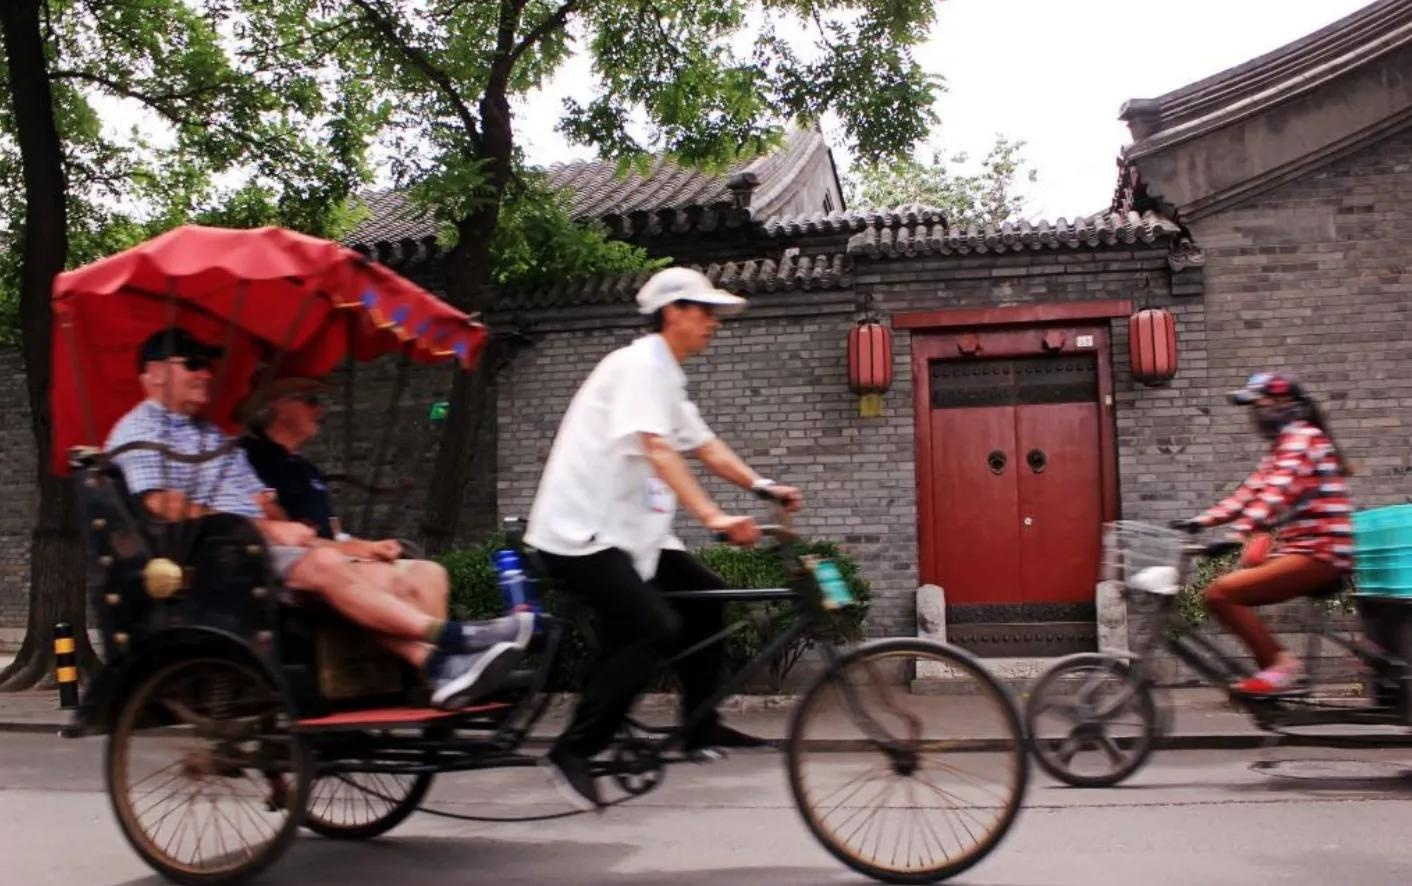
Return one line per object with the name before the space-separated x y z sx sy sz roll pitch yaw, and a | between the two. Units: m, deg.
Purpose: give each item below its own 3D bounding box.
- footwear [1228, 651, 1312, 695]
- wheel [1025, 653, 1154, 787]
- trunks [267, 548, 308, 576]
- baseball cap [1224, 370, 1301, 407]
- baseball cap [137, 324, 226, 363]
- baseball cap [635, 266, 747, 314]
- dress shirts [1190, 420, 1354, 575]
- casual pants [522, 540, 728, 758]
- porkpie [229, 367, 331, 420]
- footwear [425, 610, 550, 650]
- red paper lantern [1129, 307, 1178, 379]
footwear | 3.966 1.710 10.968 0.719 0.244 0.212 -3 -17 5
wheel | 2.792 2.021 10.975 0.946 0.964 0.309 0 -5 10
trunks | -2.737 0.791 9.967 0.221 0.161 0.195 -2 -1 -3
baseball cap | 4.124 -0.405 11.347 0.564 0.222 0.345 -2 -4 18
baseball cap | -3.560 -0.640 10.356 0.495 0.194 0.344 0 4 -13
baseball cap | -0.092 -0.975 9.948 0.684 0.212 0.390 -2 5 2
dress shirts | 4.281 0.398 11.062 1.354 1.106 0.935 -6 -8 19
casual pants | -0.678 1.379 10.008 1.460 1.564 1.423 -6 -10 30
porkpie | -3.027 -0.306 10.698 1.069 0.199 0.318 -8 -7 35
footwear | -1.425 1.268 9.989 0.766 0.224 0.316 -13 -30 27
red paper lantern | 4.608 -0.977 15.691 0.482 0.779 0.285 0 -5 9
